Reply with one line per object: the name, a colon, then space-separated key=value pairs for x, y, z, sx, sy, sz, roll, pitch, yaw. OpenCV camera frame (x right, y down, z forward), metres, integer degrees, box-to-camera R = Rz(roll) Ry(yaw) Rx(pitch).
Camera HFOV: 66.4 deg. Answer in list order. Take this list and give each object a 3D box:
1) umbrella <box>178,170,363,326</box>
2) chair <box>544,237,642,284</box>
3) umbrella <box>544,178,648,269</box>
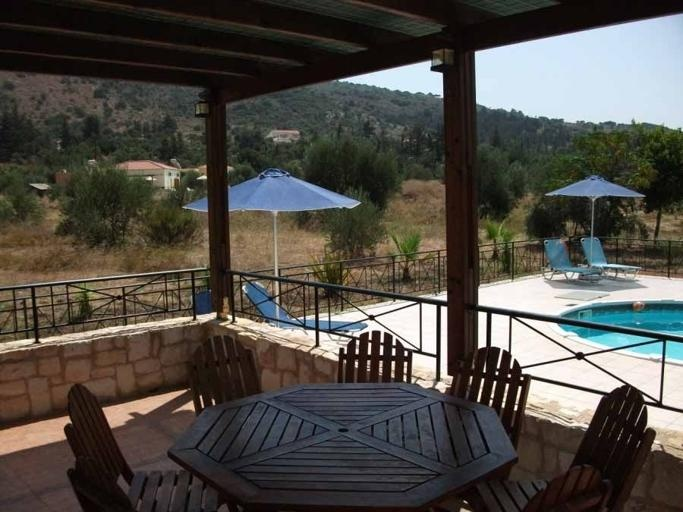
umbrella: x=-0.799 y=-0.366 z=6.997 sx=1.956 sy=1.878 sz=2.003 roll=2 pitch=3 yaw=41
chair: x=5.395 y=0.150 z=11.826 sx=1.697 sy=0.827 sz=1.187 roll=-4 pitch=5 yaw=-34
umbrella: x=7.840 y=-0.980 z=15.847 sx=2.751 sy=2.843 sz=2.837 roll=-1 pitch=3 yaw=-20
